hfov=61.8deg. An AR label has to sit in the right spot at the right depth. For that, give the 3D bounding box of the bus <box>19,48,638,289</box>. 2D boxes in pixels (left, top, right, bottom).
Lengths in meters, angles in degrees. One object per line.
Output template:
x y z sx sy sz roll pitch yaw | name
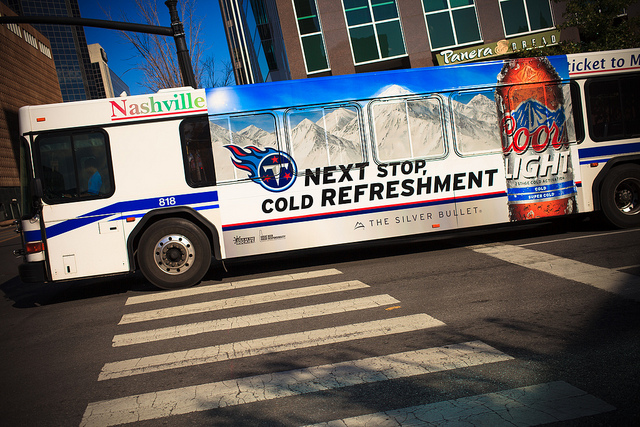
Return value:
2.427 -1.033 14.382 19.007 5.464 5.071 -5 3 -12 | bus

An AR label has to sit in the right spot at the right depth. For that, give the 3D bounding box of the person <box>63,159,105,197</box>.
-4.777 -0.750 11.114 0.496 0.732 0.193 -9 12 -14 | person
